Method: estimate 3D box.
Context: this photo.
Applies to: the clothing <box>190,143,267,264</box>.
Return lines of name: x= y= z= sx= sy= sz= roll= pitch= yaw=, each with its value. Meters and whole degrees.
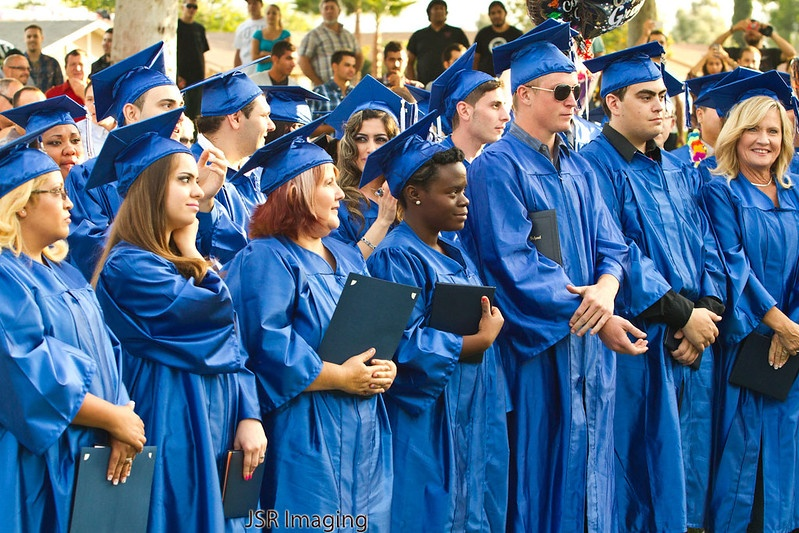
clothing: x=-1.138 y=-0.402 z=7.288 sx=0.257 sy=0.507 sz=0.748 roll=-21 pitch=9 yaw=18

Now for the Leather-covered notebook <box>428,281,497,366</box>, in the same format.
Leather-covered notebook: x=0.397 y=0.276 z=7.120 sx=0.423 sy=0.349 sz=0.090 roll=-1 pitch=7 yaw=-22

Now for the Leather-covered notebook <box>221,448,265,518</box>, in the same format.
Leather-covered notebook: x=-0.931 y=1.259 z=6.522 sx=0.406 sy=0.498 sz=0.050 roll=6 pitch=-4 yaw=-43

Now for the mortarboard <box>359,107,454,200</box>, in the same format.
mortarboard: x=0.031 y=-0.736 z=7.365 sx=0.577 sy=0.567 sz=0.355 roll=1 pitch=6 yaw=-2

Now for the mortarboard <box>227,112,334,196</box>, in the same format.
mortarboard: x=-0.747 y=-0.660 z=7.018 sx=0.502 sy=0.238 sz=0.502 roll=-18 pitch=-3 yaw=5

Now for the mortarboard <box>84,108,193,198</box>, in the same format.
mortarboard: x=-1.610 y=-0.667 z=6.717 sx=0.529 sy=0.284 sz=0.661 roll=-21 pitch=-9 yaw=-6

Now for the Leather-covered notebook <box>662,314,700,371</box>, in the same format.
Leather-covered notebook: x=1.980 y=0.568 z=7.843 sx=0.286 sy=0.279 sz=0.067 roll=24 pitch=-26 yaw=-27
